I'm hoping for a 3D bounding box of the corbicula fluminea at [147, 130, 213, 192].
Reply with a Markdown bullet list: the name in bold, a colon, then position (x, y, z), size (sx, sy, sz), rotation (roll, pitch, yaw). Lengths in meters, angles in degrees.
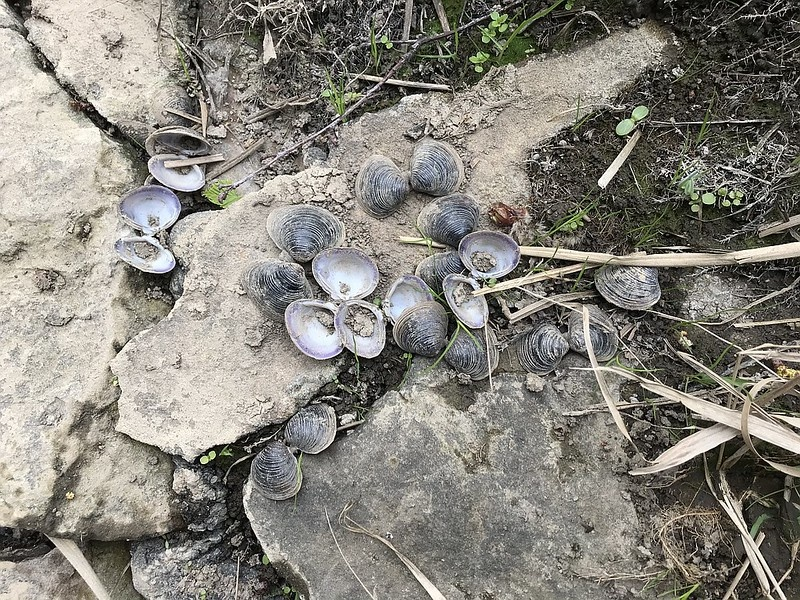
- **corbicula fluminea**: position (-1.989, -1.258, 5.842), size (0.555, 0.344, 0.475), rotation (-9, 78, -3)
